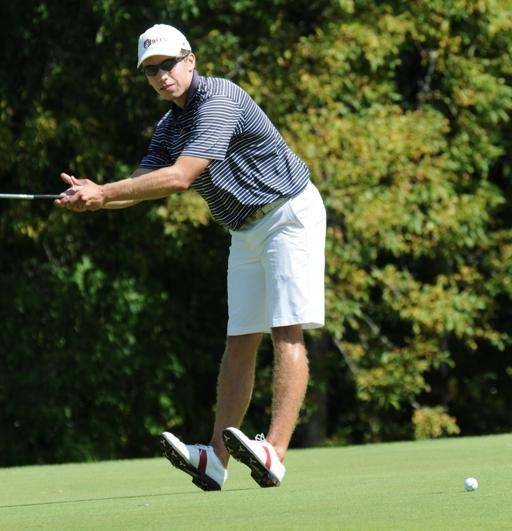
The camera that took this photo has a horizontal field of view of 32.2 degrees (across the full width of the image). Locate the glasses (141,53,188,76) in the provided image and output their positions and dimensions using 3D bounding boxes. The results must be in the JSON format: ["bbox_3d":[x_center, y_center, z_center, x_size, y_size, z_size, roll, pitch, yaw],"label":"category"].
[{"bbox_3d":[-0.345,-0.768,3.393,0.187,0.105,0.109,-4,-6,-1],"label":"glasses"}]

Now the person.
[{"bbox_3d":[-0.145,-0.041,3.403,0.879,1.814,0.547,-4,-6,-3],"label":"person"}]

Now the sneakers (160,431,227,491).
[{"bbox_3d":[-0.243,0.746,3.354,0.253,0.244,0.168,-2,-6,-19],"label":"sneakers"}]

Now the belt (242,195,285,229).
[{"bbox_3d":[0.029,-0.209,3.451,0.133,0.048,0.113,-35,5,2],"label":"belt"}]

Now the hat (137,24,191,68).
[{"bbox_3d":[-0.349,-0.836,3.410,0.149,0.109,0.193,-13,3,16],"label":"hat"}]

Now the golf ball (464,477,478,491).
[{"bbox_3d":[0.772,0.787,3.167,0.033,0.037,0.040,0,-2,13],"label":"golf ball"}]
